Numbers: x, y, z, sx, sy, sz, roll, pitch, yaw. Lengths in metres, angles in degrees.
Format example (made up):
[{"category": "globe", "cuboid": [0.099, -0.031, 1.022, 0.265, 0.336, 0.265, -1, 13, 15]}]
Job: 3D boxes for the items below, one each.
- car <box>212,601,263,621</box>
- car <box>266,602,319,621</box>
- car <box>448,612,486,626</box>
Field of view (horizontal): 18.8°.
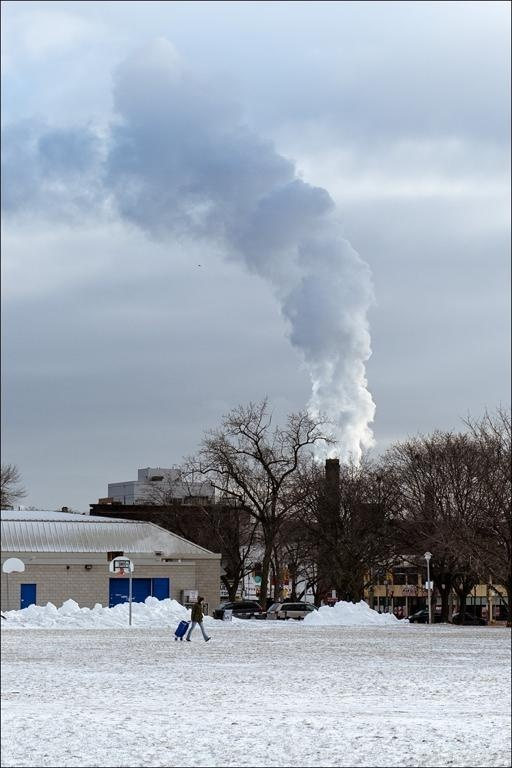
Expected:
[{"category": "car", "cuboid": [-0.676, 9.838, 67.653, 1.850, 0.992, 1.251, 5, -6, -9]}, {"category": "car", "cuboid": [1.538, 9.512, 64.720, 1.971, 0.867, 1.003, -7, 6, -12]}, {"category": "car", "cuboid": [9.213, 10.156, 66.544, 1.802, 0.680, 0.795, -1, 3, -22]}]
